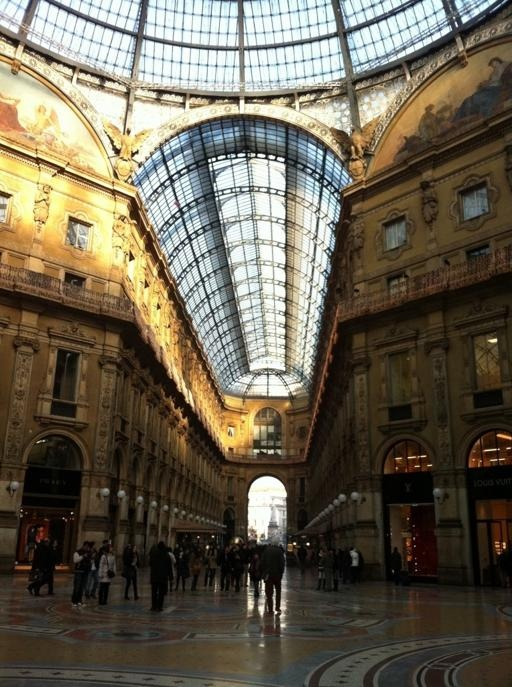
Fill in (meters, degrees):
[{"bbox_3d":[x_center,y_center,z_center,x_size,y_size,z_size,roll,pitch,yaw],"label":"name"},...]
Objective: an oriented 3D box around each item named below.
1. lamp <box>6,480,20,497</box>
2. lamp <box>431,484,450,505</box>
[{"bbox_3d":[-10.063,5.972,21.045,0.502,0.581,1.228,11,-24,-22],"label":"lamp"},{"bbox_3d":[7.294,6.032,20.202,0.629,0.671,0.458,-15,-27,34],"label":"lamp"}]
